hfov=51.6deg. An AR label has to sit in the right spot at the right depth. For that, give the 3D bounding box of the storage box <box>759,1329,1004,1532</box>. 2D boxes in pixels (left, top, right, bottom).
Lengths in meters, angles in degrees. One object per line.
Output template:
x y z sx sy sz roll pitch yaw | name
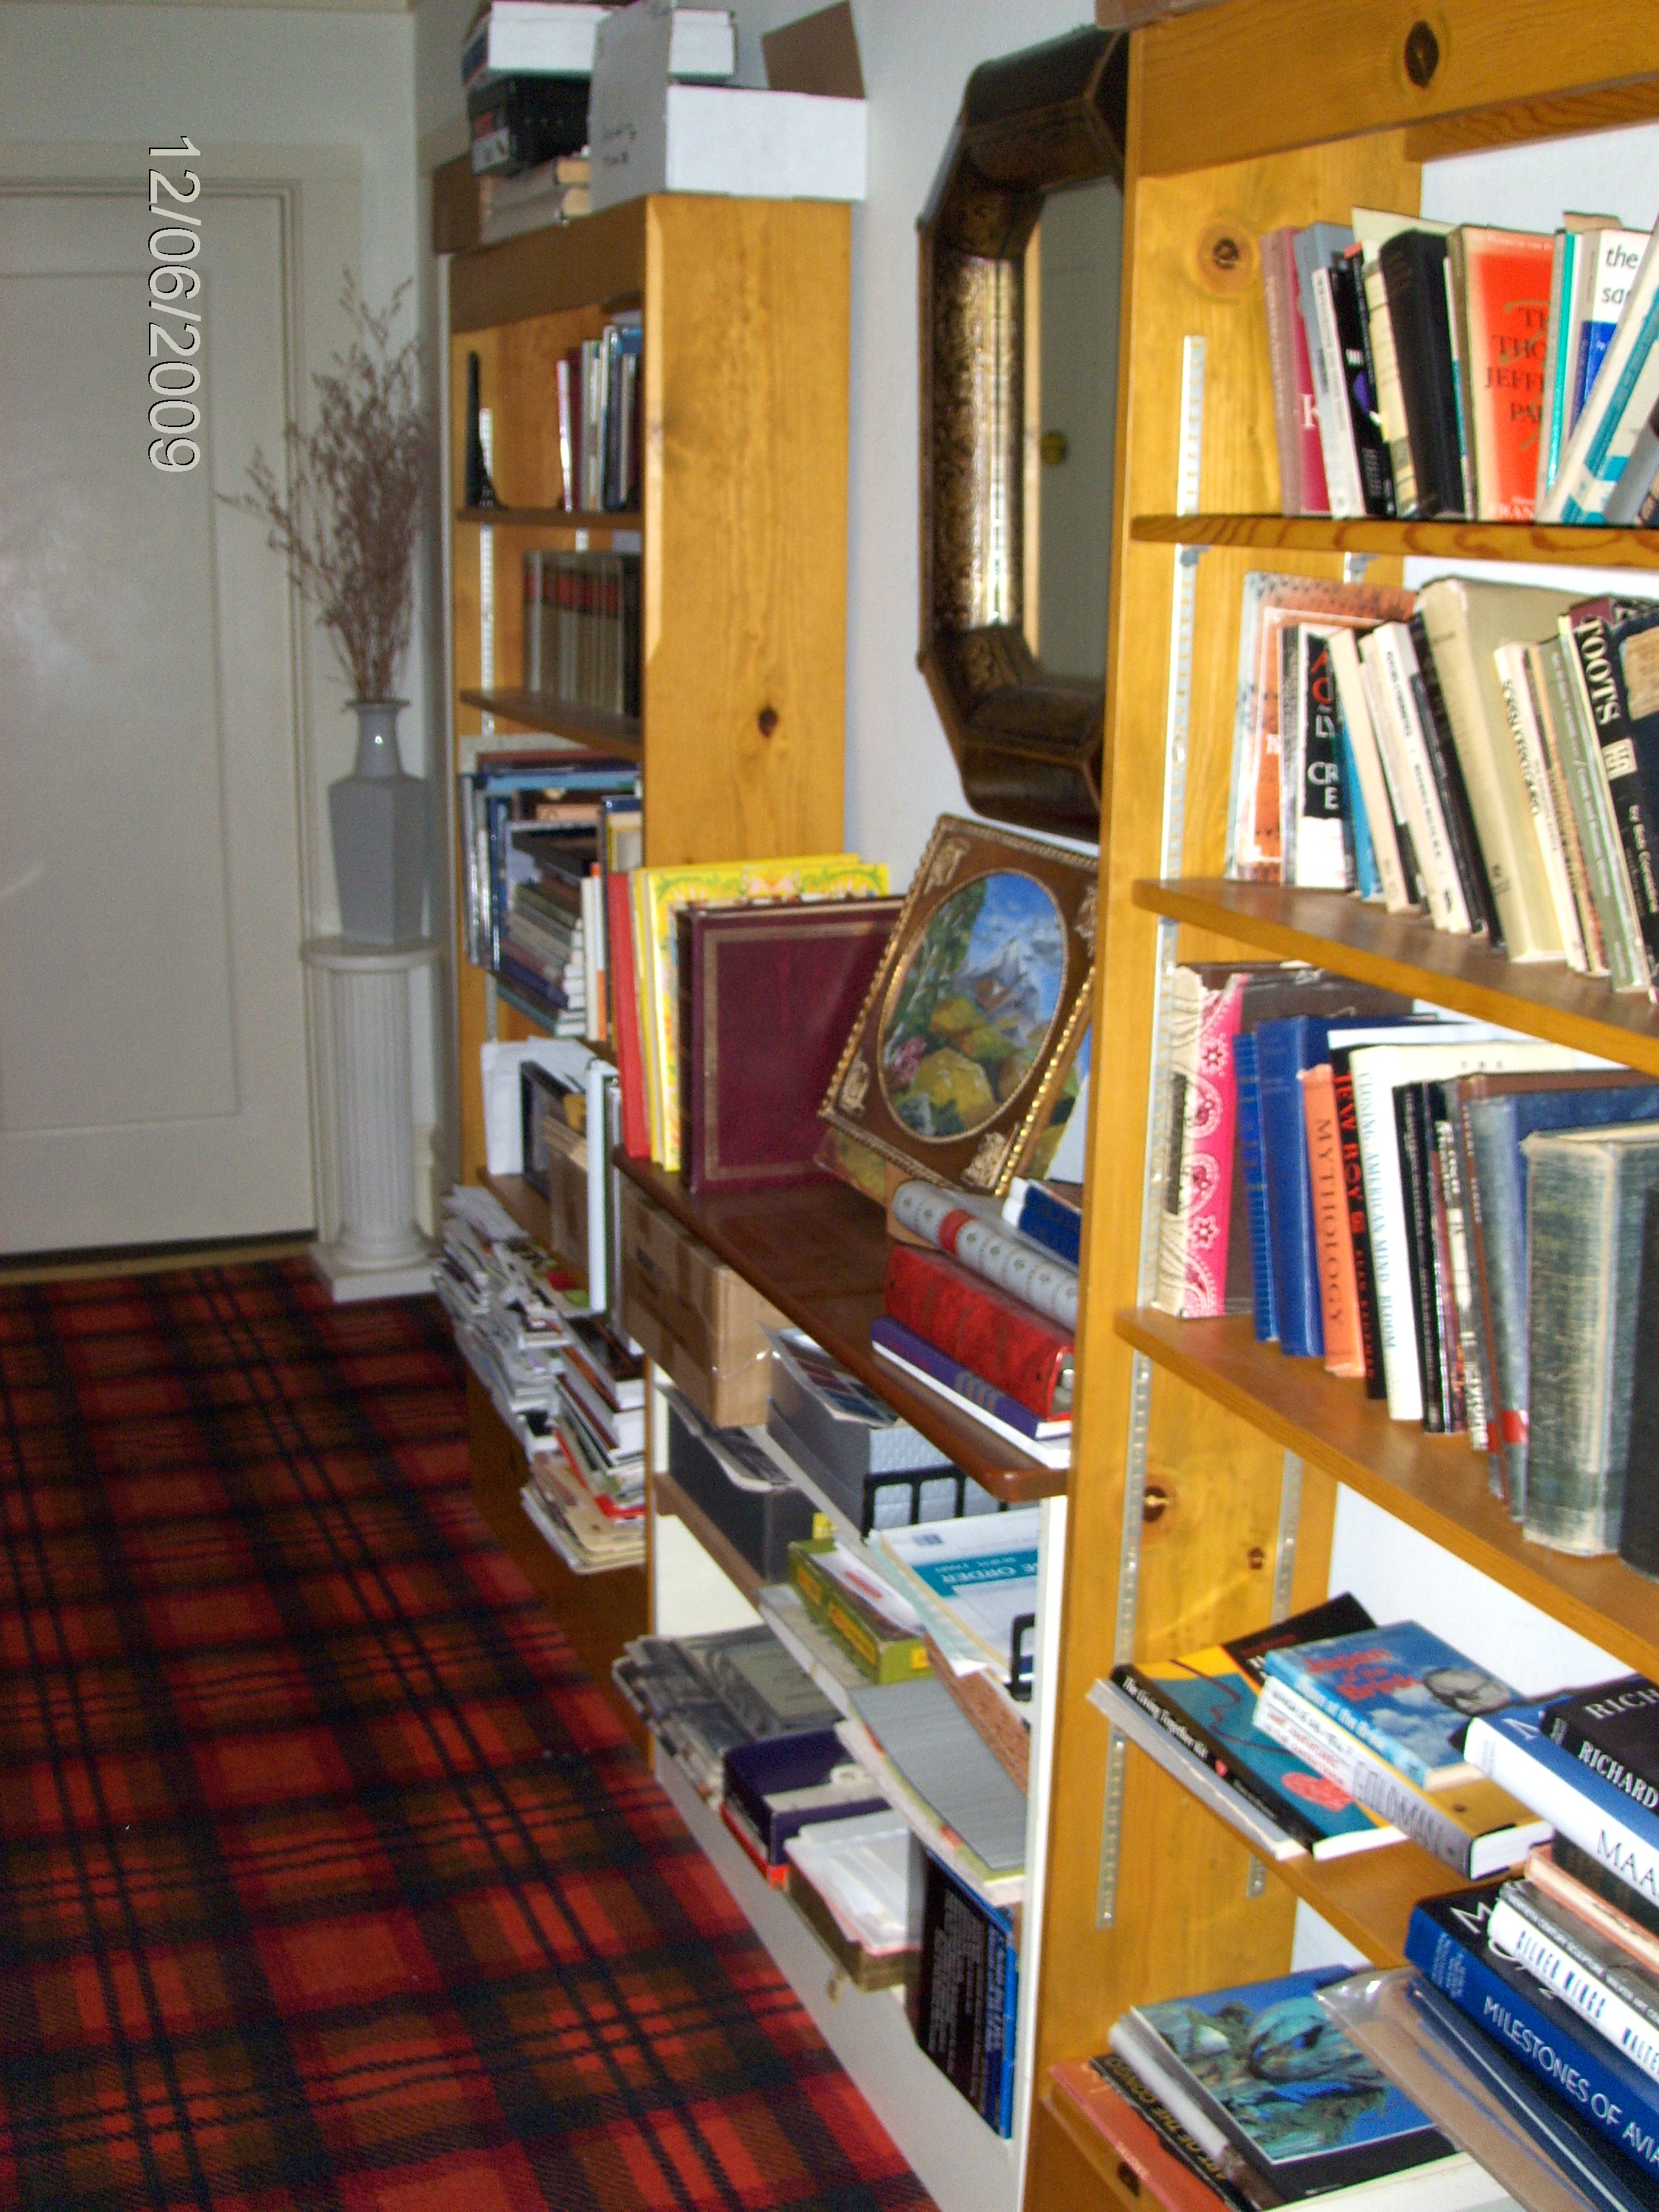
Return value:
0.073 0.292 1.662 0.148 0.086 0.203 -2 14 -20 | storage box

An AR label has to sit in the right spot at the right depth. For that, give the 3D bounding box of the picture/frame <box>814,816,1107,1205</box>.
0.129 -0.084 1.674 0.051 0.383 0.342 19 7 -27 | picture/frame

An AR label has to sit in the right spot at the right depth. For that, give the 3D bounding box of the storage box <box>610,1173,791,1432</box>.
-0.138 0.213 1.900 0.161 0.182 0.299 -3 21 -23 | storage box

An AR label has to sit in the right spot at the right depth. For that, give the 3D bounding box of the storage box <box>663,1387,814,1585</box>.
-0.100 0.439 1.926 0.157 0.056 0.159 -5 23 -35 | storage box

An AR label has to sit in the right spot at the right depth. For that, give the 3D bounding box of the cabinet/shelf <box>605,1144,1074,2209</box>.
0.013 0.573 1.687 0.289 0.768 0.877 -2 17 -19 | cabinet/shelf
